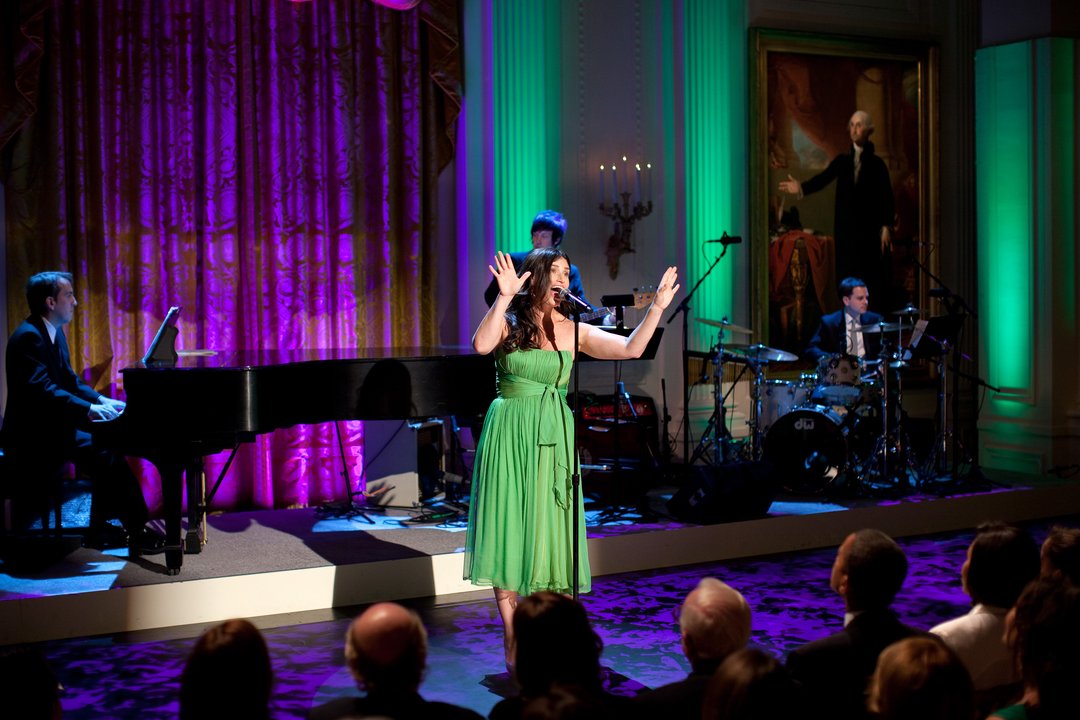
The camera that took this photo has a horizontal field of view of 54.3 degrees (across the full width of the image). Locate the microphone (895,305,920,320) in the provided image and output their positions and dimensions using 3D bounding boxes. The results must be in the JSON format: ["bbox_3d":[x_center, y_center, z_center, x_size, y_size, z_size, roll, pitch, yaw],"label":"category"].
[{"bbox_3d":[3.181,-0.426,9.107,0.185,0.111,0.189,-5,9,7],"label":"microphone"}]

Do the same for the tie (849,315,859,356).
[{"bbox_3d":[2.660,-0.200,8.885,0.062,0.271,0.190,2,1,20],"label":"tie"}]

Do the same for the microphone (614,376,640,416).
[{"bbox_3d":[0.679,0.294,8.304,0.115,0.301,0.162,-28,4,10],"label":"microphone"}]

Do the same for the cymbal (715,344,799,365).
[{"bbox_3d":[1.687,-0.061,8.222,0.598,0.157,0.365,-1,-5,20],"label":"cymbal"}]

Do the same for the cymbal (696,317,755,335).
[{"bbox_3d":[1.435,-0.280,8.142,0.288,0.070,0.300,10,-2,10],"label":"cymbal"}]

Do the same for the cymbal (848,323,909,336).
[{"bbox_3d":[2.661,-0.257,8.179,0.219,0.067,0.229,4,10,41],"label":"cymbal"}]

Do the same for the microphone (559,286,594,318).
[{"bbox_3d":[0.188,-0.303,5.527,0.165,0.143,0.475,1,-5,-1],"label":"microphone"}]

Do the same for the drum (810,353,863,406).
[{"bbox_3d":[2.293,0.148,8.212,0.365,0.393,0.380,4,-12,9],"label":"drum"}]

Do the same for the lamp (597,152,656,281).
[{"bbox_3d":[0.704,-1.232,9.069,0.513,1.017,0.272,-3,5,-25],"label":"lamp"}]

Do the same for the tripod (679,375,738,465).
[{"bbox_3d":[1.443,0.524,9.338,0.488,0.862,0.473,-4,1,-29],"label":"tripod"}]

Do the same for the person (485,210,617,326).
[{"bbox_3d":[0.063,-0.584,7.351,0.897,0.876,0.491,1,6,-21],"label":"person"}]

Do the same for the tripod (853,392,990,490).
[{"bbox_3d":[3.084,0.688,8.551,0.886,0.827,0.881,4,15,32],"label":"tripod"}]

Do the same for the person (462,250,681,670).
[{"bbox_3d":[0.056,0.532,5.646,0.899,2.231,0.579,1,-4,-7],"label":"person"}]

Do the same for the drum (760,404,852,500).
[{"bbox_3d":[2.062,0.774,8.226,0.681,0.671,0.576,-5,-24,27],"label":"drum"}]

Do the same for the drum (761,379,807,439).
[{"bbox_3d":[1.960,0.358,8.474,0.344,0.378,0.359,0,1,11],"label":"drum"}]

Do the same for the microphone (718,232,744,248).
[{"bbox_3d":[1.524,-1.003,8.604,0.272,0.143,0.193,0,11,16],"label":"microphone"}]
